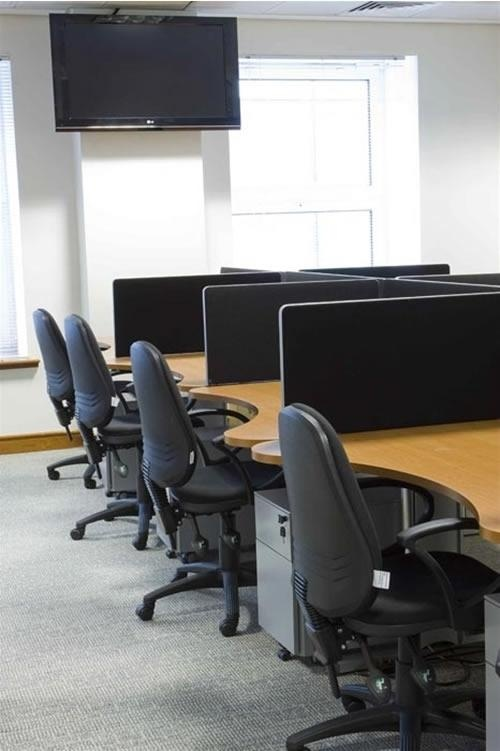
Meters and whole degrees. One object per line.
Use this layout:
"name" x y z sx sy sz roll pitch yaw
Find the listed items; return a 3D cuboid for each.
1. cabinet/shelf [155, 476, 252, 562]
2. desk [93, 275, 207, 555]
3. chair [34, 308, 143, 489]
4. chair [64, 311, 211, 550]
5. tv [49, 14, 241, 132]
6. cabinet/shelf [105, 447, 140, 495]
"cabinet/shelf" -0.195 0.665 2.707 0.257 0.232 0.152 11 32 -14
"desk" -0.804 0.121 4.601 1.064 1.824 1.808 -3 10 -17
"chair" -0.929 0.100 3.594 0.528 0.904 0.508 0 -12 -23
"chair" -0.588 0.178 3.557 0.896 1.468 1.004 -4 9 -18
"tv" -0.690 -2.016 4.249 1.245 0.757 0.090 -1 7 -2
"cabinet/shelf" -0.727 0.541 3.619 0.237 0.258 0.238 -7 -12 14
